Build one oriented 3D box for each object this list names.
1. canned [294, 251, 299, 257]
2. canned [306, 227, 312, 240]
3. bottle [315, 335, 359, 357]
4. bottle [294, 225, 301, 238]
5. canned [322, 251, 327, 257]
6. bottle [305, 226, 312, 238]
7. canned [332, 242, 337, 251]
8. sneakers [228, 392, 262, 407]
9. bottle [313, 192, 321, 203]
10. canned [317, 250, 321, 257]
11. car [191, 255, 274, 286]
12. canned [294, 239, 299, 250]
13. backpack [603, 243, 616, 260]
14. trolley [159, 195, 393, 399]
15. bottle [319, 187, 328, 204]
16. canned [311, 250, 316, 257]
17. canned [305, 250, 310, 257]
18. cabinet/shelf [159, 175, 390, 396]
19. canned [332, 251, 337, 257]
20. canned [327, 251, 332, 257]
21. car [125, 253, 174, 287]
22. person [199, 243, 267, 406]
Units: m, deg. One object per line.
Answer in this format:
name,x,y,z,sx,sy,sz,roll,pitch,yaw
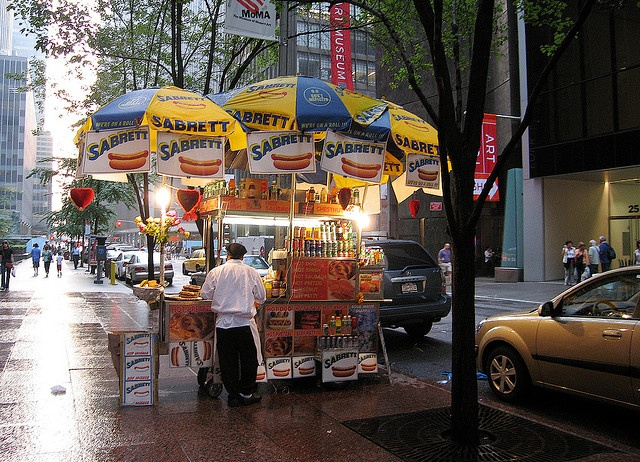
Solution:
canned,-0.389,0.418,9.277,0.084,0.093,0.086,0,-1,7
canned,-0.190,0.053,9.460,0.153,0.294,0.167,0,-2,-2
bottle,0.300,1.949,9.199,0.716,0.338,0.198,0,2,-20
bottle,-0.388,0.034,9.386,0.153,0.284,0.150,2,5,0
canned,0.081,0.417,9.463,0.089,0.172,0.091,-1,1,1
bottle,-0.180,0.053,9.465,0.138,0.267,0.150,0,-4,0
canned,0.278,0.280,9.461,0.114,0.203,0.117,-1,0,-6
sneakers,-1.152,2.553,8.383,0.519,0.230,0.174,2,-1,-36
bottle,-0.035,-0.595,9.959,0.152,0.294,0.155,-1,-1,0
canned,-0.007,0.412,9.430,0.077,0.148,0.079,0,-4,1
car,-3.508,1.253,20.844,3.382,1.496,1.122,0,16,-21
canned,-0.394,0.249,9.278,0.121,0.233,0.125,0,0,8
backpack,12.913,0.949,24.220,0.428,0.801,0.783,-8,3,37
trolley,-0.347,0.628,9.859,2.696,3.677,2.153,-4,30,-10
bottle,0.068,-0.635,10.028,0.214,0.385,0.220,0,0,0
canned,-0.113,0.413,9.381,0.081,0.155,0.082,-2,1,-25
canned,-0.203,0.405,9.298,0.075,0.136,0.077,0,-1,0
cabinet/shelf,-0.316,1.157,10.068,2.372,3.145,1.765,3,-8,-27
canned,0.265,0.417,9.535,0.075,0.084,0.077,1,-3,-6
canned,0.172,0.421,9.449,0.084,0.097,0.085,1,-1,-27
car,-9.511,2.051,29.458,1.700,1.388,4.131,0,1,-26
person,-1.308,1.440,8.472,0.908,2.427,0.587,0,2,-6
